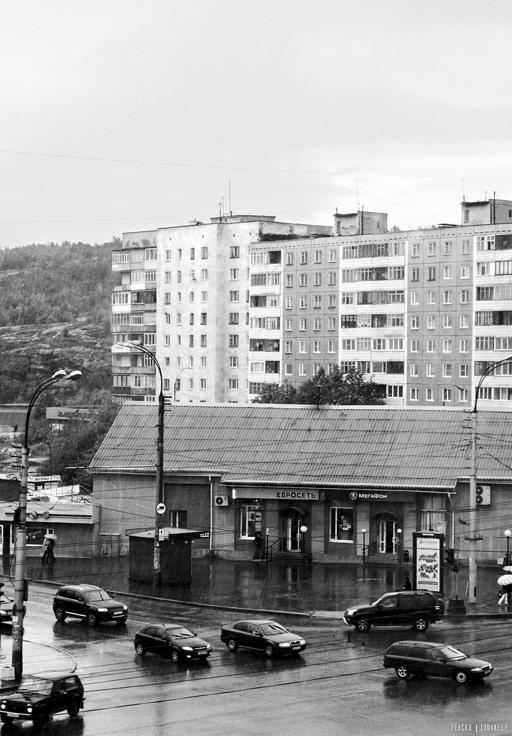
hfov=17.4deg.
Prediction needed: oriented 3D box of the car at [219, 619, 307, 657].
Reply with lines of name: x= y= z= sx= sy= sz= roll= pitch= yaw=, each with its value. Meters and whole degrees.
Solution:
car: x=0.316 y=8.968 z=55.093 sx=1.132 sy=0.971 sz=2.317 roll=0 pitch=-4 yaw=-43

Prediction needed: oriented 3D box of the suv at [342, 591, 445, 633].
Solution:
suv: x=5.011 y=8.793 z=59.952 sx=3.193 sy=1.417 sz=1.213 roll=-1 pitch=-5 yaw=-5

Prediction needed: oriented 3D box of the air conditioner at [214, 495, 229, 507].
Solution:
air conditioner: x=-1.632 y=6.626 z=80.617 sx=0.736 sy=0.758 sz=0.419 roll=-5 pitch=-9 yaw=37

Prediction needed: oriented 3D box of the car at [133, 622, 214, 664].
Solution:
car: x=-2.694 y=9.038 z=54.439 sx=1.235 sy=1.174 sz=2.946 roll=4 pitch=-8 yaw=-41

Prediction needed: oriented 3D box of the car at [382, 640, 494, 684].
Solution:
car: x=5.415 y=9.006 z=50.668 sx=3.524 sy=1.215 sz=0.849 roll=-6 pitch=-7 yaw=35

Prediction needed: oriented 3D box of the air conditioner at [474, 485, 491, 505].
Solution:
air conditioner: x=10.169 y=5.725 z=74.899 sx=0.561 sy=1.272 sz=1.120 roll=-1 pitch=0 yaw=38
